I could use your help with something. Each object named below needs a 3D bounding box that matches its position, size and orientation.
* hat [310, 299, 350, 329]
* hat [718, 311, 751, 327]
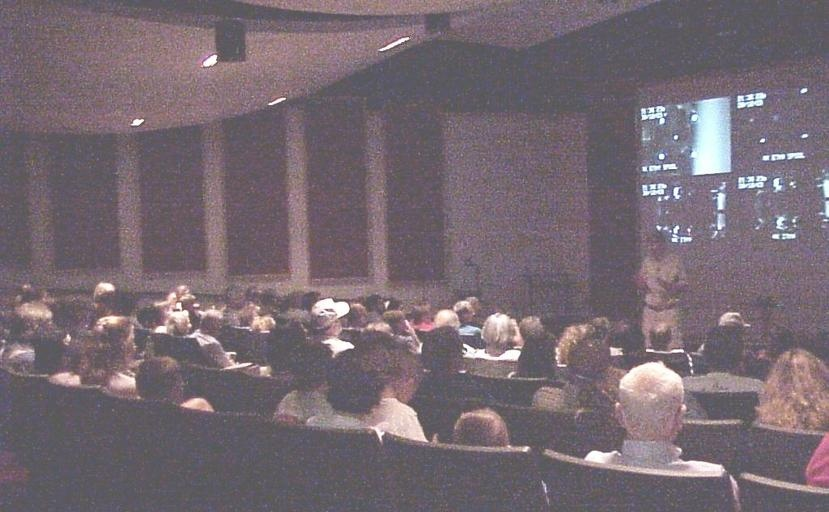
[{"bbox_3d":[-0.855,0.570,9.842,0.235,0.171,0.362,4,6,7],"label":"hat"},{"bbox_3d":[3.307,0.654,10.291,0.288,0.085,0.294,-1,-2,41],"label":"hat"}]
